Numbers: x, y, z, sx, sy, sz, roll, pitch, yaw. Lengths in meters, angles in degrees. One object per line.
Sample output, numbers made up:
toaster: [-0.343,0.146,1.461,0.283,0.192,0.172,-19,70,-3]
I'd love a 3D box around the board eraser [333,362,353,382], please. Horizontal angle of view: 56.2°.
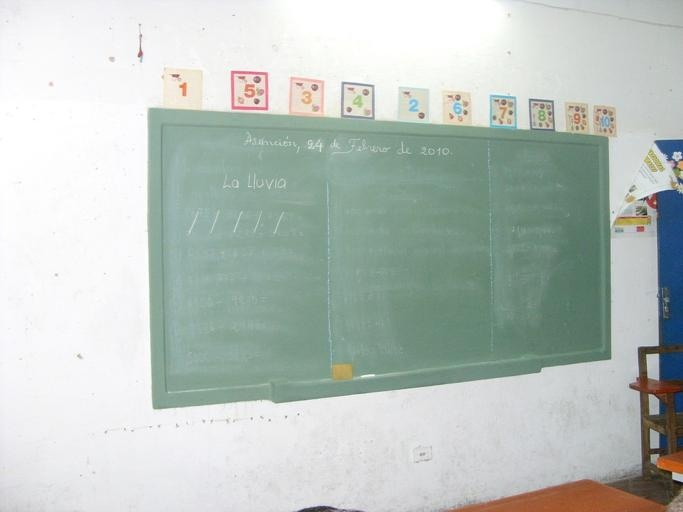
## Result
board eraser: [0.003,0.681,3.753,0.131,0.093,0.031,2,-5,-15]
